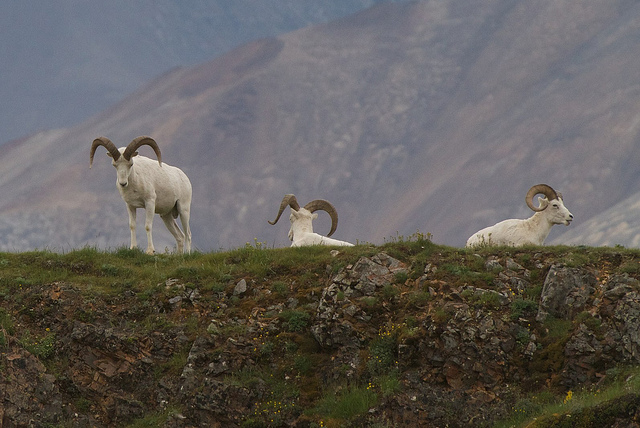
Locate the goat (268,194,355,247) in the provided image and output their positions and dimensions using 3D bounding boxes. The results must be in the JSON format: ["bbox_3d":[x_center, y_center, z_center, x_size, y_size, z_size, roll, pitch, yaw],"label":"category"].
[{"bbox_3d":[-0.704,0.136,35.232,4.136,2.668,2.266,-9,-14,43],"label":"goat"}]

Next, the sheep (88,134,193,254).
[{"bbox_3d":[-6.148,-0.896,30.361,2.243,4.249,4.461,2,-4,6],"label":"sheep"}]

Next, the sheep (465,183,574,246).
[{"bbox_3d":[8.286,0.052,33.360,2.815,2.157,1.284,-3,13,-14],"label":"sheep"}]
